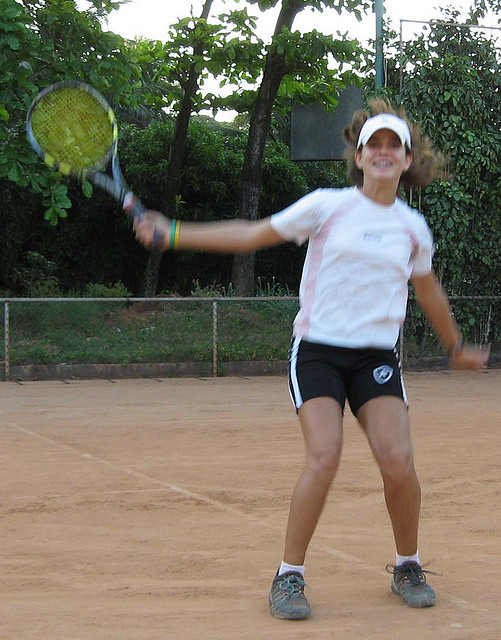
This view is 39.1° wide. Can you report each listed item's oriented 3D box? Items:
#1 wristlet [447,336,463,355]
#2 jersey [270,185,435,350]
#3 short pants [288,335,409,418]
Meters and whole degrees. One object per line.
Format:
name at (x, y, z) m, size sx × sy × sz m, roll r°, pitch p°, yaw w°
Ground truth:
wristlet at (0.835, 0.105, 2.894) m, size 0.017 × 0.063 × 0.071 m, roll 24°, pitch 27°, yaw 19°
jersey at (0.374, -0.194, 2.527) m, size 0.606 × 0.600 × 0.293 m, roll 0°, pitch 0°, yaw 0°
short pants at (0.337, 0.191, 2.482) m, size 0.393 × 0.276 × 0.196 m, roll 0°, pitch 0°, yaw -4°
